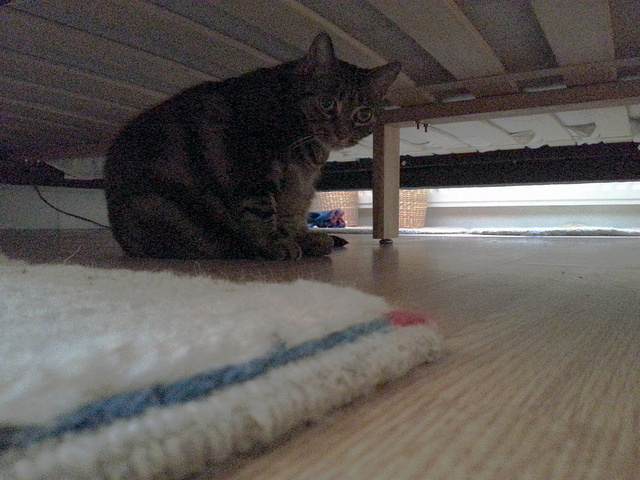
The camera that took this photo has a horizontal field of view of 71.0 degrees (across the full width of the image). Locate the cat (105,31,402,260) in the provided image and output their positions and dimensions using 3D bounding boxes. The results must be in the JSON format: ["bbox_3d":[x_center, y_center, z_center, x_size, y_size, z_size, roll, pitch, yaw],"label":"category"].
[{"bbox_3d":[-0.209,-0.235,1.403,0.842,0.573,0.438,2,9,10],"label":"cat"}]

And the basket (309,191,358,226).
[{"bbox_3d":[0.271,-0.396,5.657,0.551,0.509,0.138,-2,33,-6],"label":"basket"}]
